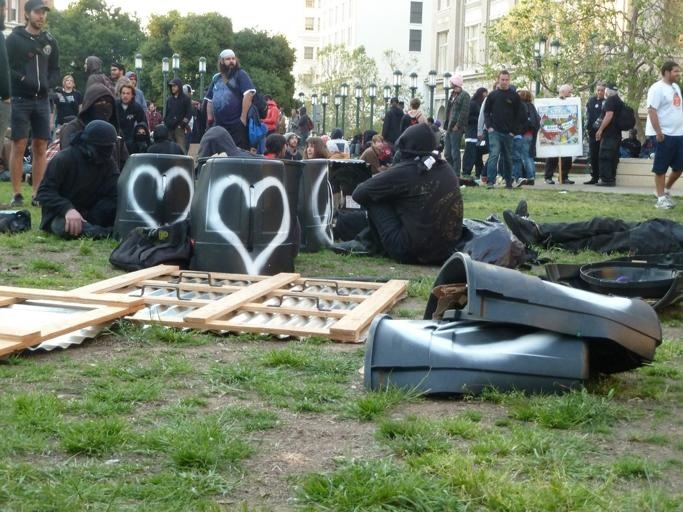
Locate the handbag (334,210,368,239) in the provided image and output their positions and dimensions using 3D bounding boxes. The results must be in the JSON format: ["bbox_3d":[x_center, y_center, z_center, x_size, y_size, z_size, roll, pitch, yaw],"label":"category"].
[{"bbox_3d":[0.132,-0.384,9.907,0.412,0.421,0.289,-4,3,13],"label":"handbag"}]

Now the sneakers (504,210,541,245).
[{"bbox_3d":[2.124,-0.327,9.224,0.294,0.463,0.157,-30,-21,-23],"label":"sneakers"}]

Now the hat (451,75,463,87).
[{"bbox_3d":[2.710,-4.126,18.420,0.262,0.319,0.736,0,3,6],"label":"hat"}]

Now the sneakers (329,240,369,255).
[{"bbox_3d":[0.134,-0.099,9.211,0.442,0.162,0.280,3,5,45],"label":"sneakers"}]

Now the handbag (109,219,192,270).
[{"bbox_3d":[-1.808,-0.091,7.555,0.612,0.292,0.515,-5,2,-20],"label":"handbag"}]
